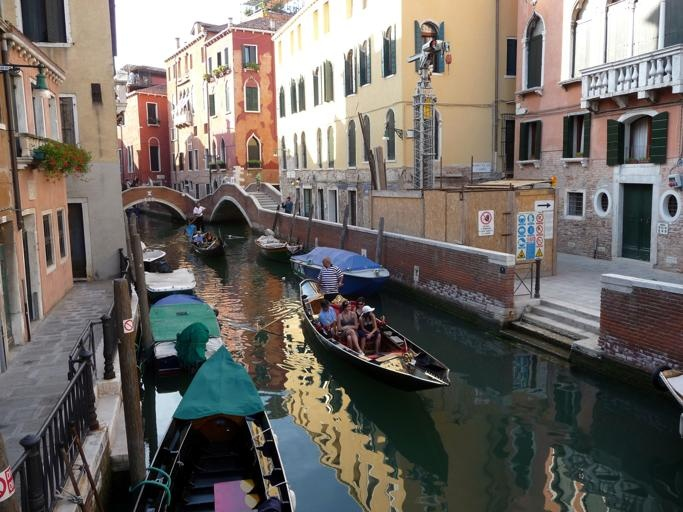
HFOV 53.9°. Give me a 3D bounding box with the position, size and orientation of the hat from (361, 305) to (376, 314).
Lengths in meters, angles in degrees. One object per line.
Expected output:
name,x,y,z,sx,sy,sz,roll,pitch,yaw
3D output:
hat,0.622,1.363,16.833,0.290,0.123,0.325,-11,0,-26

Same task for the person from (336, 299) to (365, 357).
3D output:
person,0.240,1.781,16.510,0.514,1.089,1.642,-1,16,-12

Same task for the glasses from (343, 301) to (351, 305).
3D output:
glasses,0.131,1.189,17.019,0.122,0.077,0.167,0,1,-5
